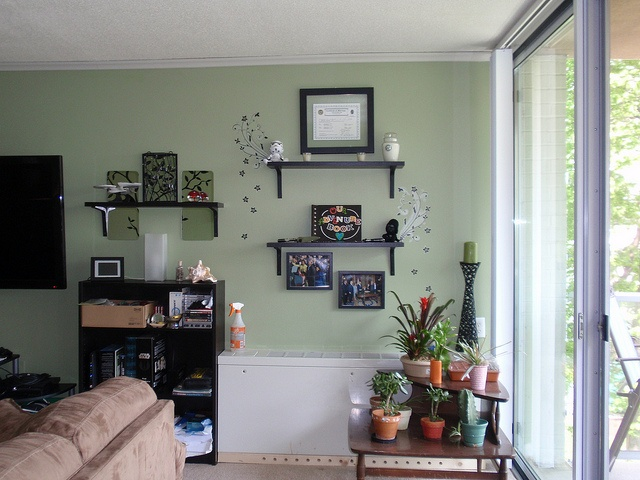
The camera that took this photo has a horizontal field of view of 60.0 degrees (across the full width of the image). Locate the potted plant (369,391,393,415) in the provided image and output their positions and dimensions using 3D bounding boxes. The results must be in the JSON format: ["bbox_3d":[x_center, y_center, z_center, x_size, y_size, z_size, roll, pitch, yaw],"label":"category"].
[{"bbox_3d":[0.385,1.056,3.598,0.105,0.077,0.105,2,3,23],"label":"potted plant"}]

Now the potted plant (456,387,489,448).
[{"bbox_3d":[0.940,1.096,3.427,0.181,0.331,0.174,-2,-6,2],"label":"potted plant"}]

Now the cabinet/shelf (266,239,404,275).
[{"bbox_3d":[0.113,0.125,4.013,0.970,0.297,0.216,-2,1,3],"label":"cabinet/shelf"}]

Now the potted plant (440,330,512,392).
[{"bbox_3d":[1.033,0.803,3.559,0.451,0.296,0.409,15,-21,-38],"label":"potted plant"}]

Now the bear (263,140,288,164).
[{"bbox_3d":[-0.336,-0.647,4.057,0.160,0.193,0.162,-2,1,-6],"label":"bear"}]

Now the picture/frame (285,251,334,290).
[{"bbox_3d":[-0.066,0.232,4.090,0.291,0.237,0.021,-1,0,2],"label":"picture/frame"}]

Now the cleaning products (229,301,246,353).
[{"bbox_3d":[-0.603,0.632,4.071,0.119,0.248,0.131,-2,1,-10],"label":"cleaning products"}]

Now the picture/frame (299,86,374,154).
[{"bbox_3d":[0.145,-0.887,4.091,0.533,0.452,0.039,0,3,3],"label":"picture/frame"}]

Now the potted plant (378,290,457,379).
[{"bbox_3d":[0.647,0.636,3.791,0.506,0.572,0.536,7,-6,2],"label":"potted plant"}]

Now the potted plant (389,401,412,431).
[{"bbox_3d":[0.511,1.129,3.563,0.131,0.108,0.136,1,3,15],"label":"potted plant"}]
